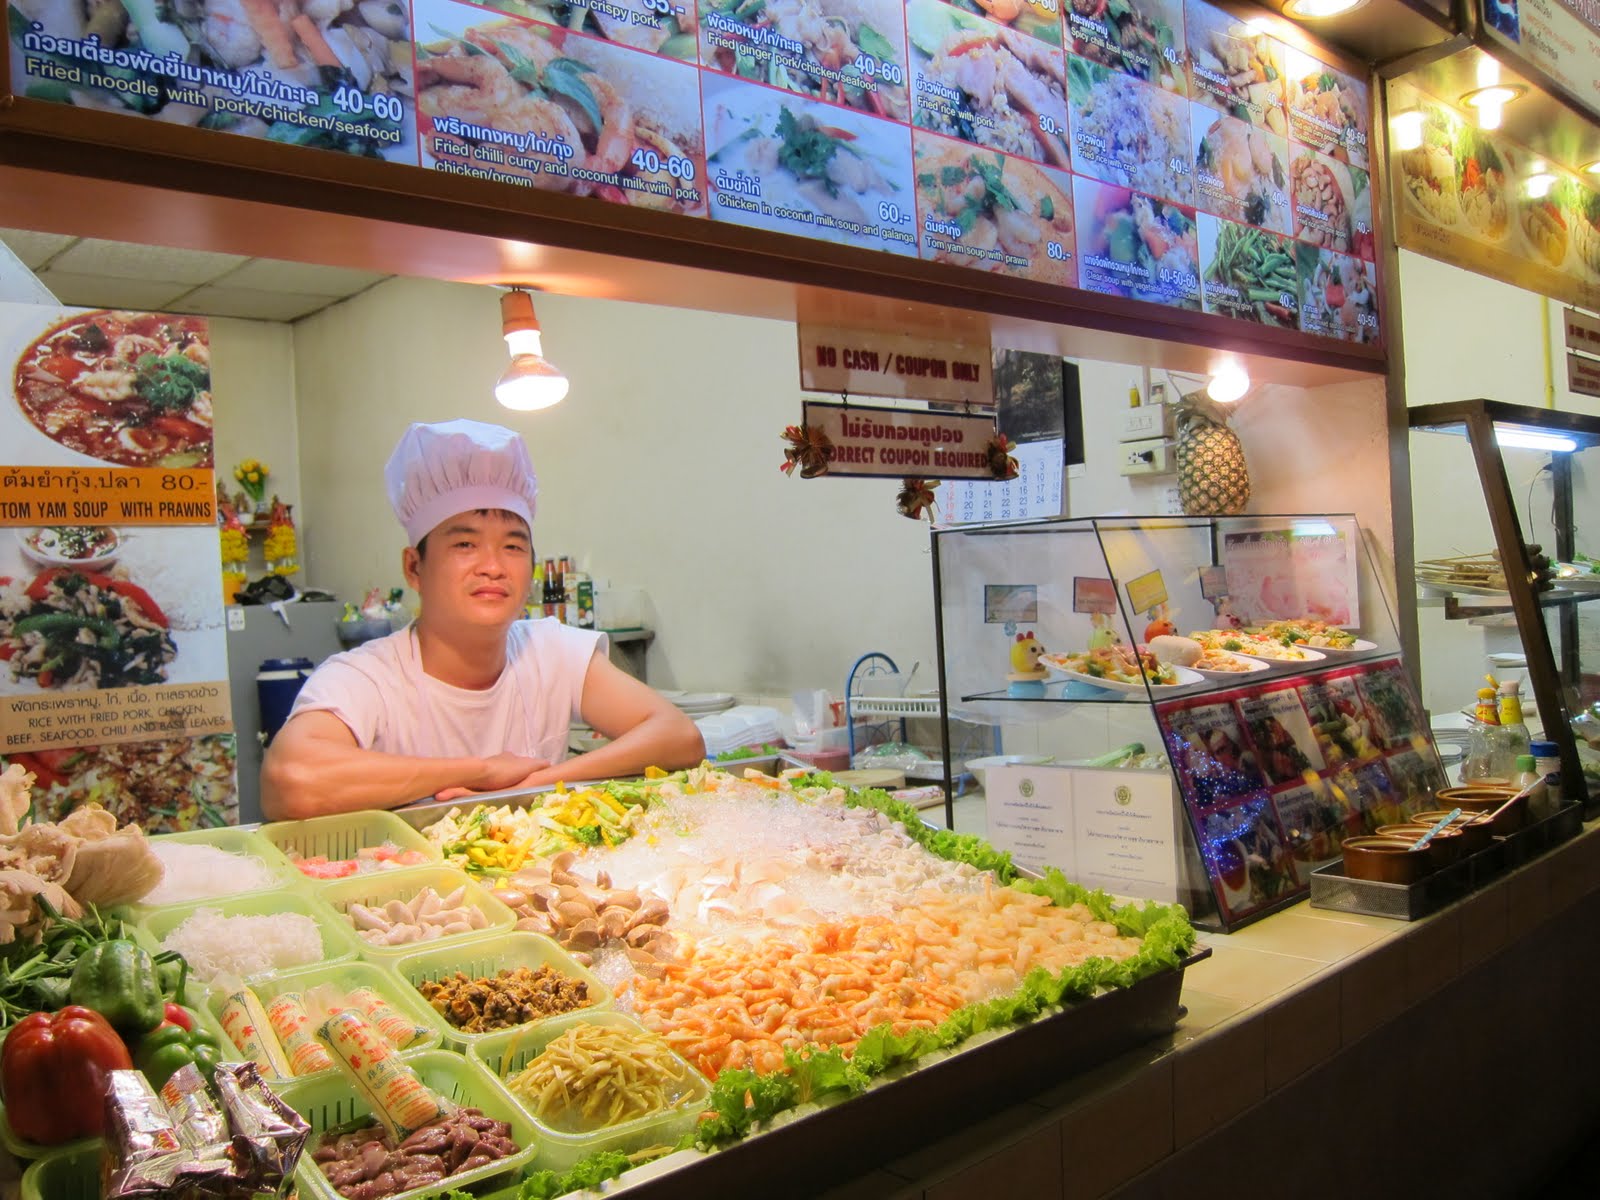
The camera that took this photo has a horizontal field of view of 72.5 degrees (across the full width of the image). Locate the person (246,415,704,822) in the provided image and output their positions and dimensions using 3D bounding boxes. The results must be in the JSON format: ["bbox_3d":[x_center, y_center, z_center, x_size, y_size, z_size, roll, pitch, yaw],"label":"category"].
[{"bbox_3d":[-0.893,0.142,2.960,1.128,1.166,0.765,-1,4,-42],"label":"person"}]

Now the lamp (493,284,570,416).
[{"bbox_3d":[-0.536,-0.494,2.112,0.112,0.191,0.110,-11,7,-35],"label":"lamp"}]

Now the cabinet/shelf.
[{"bbox_3d":[0.962,0.196,2.543,1.957,0.796,0.823,-1,3,-45],"label":"cabinet/shelf"}]

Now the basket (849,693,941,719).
[{"bbox_3d":[0.382,0.439,4.481,0.283,0.064,0.122,-4,-2,45],"label":"basket"}]

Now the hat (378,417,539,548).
[{"bbox_3d":[-0.968,-0.319,3.071,0.415,0.334,0.303,-2,5,-38],"label":"hat"}]

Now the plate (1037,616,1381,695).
[{"bbox_3d":[0.957,0.105,2.584,0.912,0.158,0.342,-3,16,-34],"label":"plate"}]
